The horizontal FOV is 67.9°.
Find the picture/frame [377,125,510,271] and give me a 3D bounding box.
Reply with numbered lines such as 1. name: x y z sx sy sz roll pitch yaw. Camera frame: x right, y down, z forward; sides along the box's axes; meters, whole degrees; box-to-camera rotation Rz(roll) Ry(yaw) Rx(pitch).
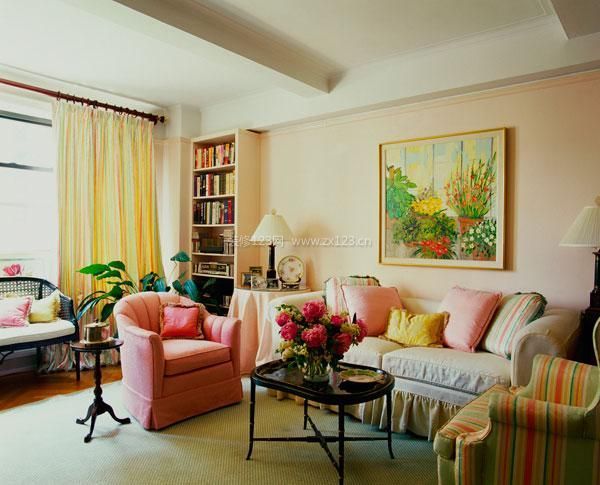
1. picture/frame: 1.326 -0.405 4.003 1.272 1.408 0.047 0 -2 34

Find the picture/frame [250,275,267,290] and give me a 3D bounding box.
1. picture/frame: -0.454 0.428 4.747 0.120 0.171 0.162 -16 29 -25

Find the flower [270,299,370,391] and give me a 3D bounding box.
1. flower: 0.129 0.633 2.889 0.498 0.531 0.399 2 4 30

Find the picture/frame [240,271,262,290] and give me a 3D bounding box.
1. picture/frame: -0.525 0.404 4.810 0.180 0.190 0.182 1 0 35

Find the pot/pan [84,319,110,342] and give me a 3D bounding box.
1. pot/pan: -1.512 0.651 3.320 0.134 0.147 0.142 1 -6 -32

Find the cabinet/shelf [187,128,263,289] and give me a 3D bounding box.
1. cabinet/shelf: -0.895 -0.400 5.362 0.947 1.834 0.476 3 5 39

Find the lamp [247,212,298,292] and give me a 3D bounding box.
1. lamp: -0.316 0.057 4.813 0.441 0.789 0.475 3 4 25

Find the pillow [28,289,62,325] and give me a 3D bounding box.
1. pillow: -2.569 0.649 4.442 0.353 0.337 0.133 -13 -15 1
